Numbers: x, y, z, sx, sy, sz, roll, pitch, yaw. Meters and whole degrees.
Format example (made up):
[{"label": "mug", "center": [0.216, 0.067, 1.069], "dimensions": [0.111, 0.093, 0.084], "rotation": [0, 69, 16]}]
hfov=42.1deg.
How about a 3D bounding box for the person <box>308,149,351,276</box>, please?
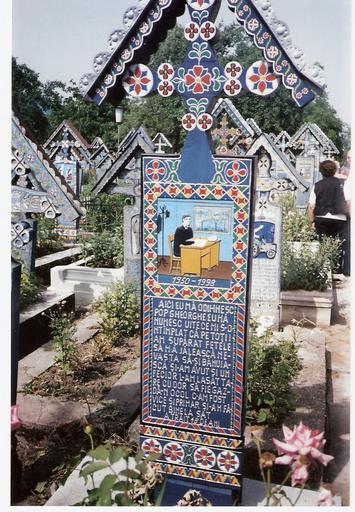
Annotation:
[{"label": "person", "center": [2.859, -0.956, 8.662], "dimensions": [0.728, 1.495, 1.014], "rotation": [1, -1, 19]}]
